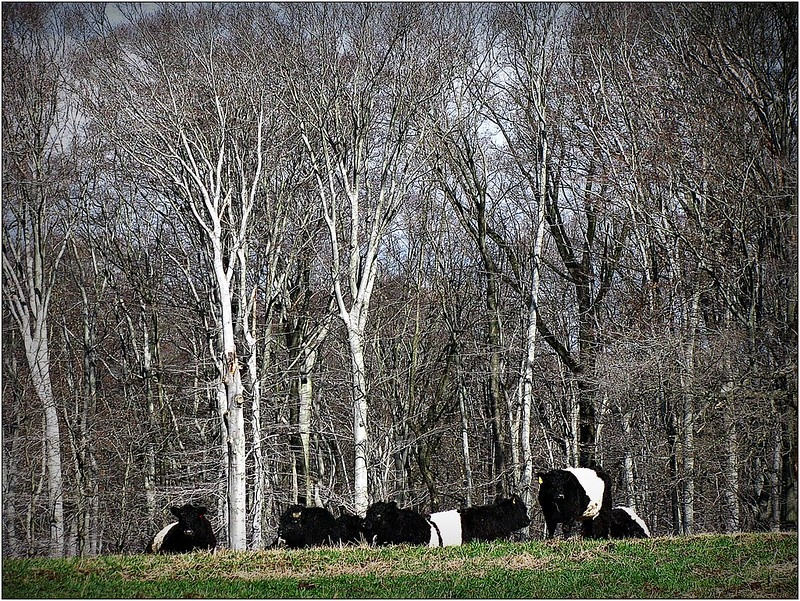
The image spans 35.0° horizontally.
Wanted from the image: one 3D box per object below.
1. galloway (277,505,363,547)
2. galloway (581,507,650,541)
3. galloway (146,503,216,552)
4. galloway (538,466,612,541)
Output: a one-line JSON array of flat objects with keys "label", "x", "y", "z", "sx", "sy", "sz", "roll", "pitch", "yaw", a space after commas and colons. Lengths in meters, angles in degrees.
[{"label": "galloway", "x": -2.123, "y": 5.997, "z": 33.723, "sx": 1.756, "sy": 0.866, "sz": 1.168, "roll": 5, "pitch": -10, "yaw": -2}, {"label": "galloway", "x": 5.766, "y": 5.959, "z": 33.919, "sx": 1.749, "sy": 0.979, "sz": 0.541, "roll": 13, "pitch": -30, "yaw": -26}, {"label": "galloway", "x": -5.953, "y": 6.155, "z": 34.048, "sx": 1.569, "sy": 1.243, "sz": 1.231, "roll": -9, "pitch": -14, "yaw": 21}, {"label": "galloway", "x": 4.645, "y": 5.383, "z": 33.765, "sx": 2.661, "sy": 2.057, "sz": 1.251, "roll": 4, "pitch": -4, "yaw": -37}]
